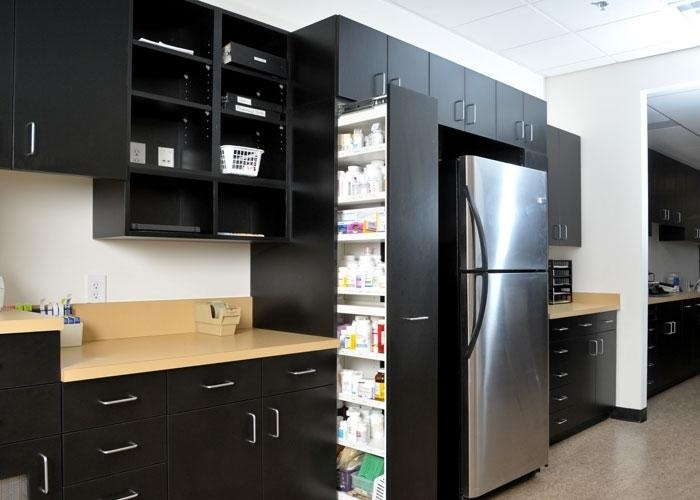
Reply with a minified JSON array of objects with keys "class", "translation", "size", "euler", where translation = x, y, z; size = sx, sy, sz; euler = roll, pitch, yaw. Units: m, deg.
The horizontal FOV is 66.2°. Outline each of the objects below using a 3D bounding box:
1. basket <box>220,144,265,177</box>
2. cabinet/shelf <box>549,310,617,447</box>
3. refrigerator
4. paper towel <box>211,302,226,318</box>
[{"class":"basket","translation":[-0.637,-0.513,3.180],"size":[0.228,0.137,0.157],"euler":[1,-1,-45]},{"class":"cabinet/shelf","translation":[1.944,1.092,4.542],"size":[0.996,0.867,0.474],"euler":[0,-3,-44]},{"class":"refrigerator","translation":[0.972,0.498,3.565],"size":[0.841,2.157,0.281],"euler":[1,0,-30]},{"class":"paper towel","translation":[-0.766,0.340,3.106],"size":[0.067,0.093,0.082],"euler":[5,-9,-38]}]
